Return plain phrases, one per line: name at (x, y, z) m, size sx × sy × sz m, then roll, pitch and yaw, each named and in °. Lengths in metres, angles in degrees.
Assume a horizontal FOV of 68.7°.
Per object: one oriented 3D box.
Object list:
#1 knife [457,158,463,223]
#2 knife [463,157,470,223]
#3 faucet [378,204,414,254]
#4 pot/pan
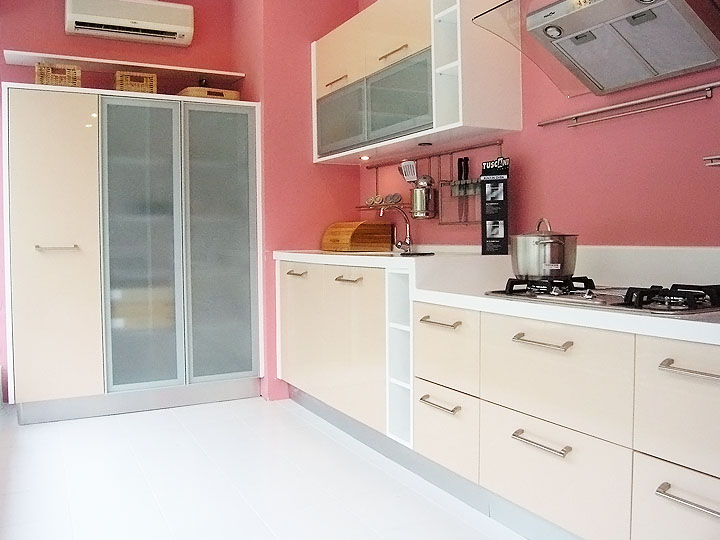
knife at (0.602, -0.480, 3.140) m, size 0.046 × 0.343 × 0.029 m, roll 4°, pitch 13°, yaw 35°
knife at (0.633, -0.466, 3.116) m, size 0.054 × 0.335 × 0.035 m, roll 1°, pitch 9°, yaw 24°
faucet at (0.248, -0.276, 3.553) m, size 0.207 × 0.325 × 0.597 m, roll 0°, pitch 6°, yaw 3°
pot/pan at (0.754, -0.076, 2.170) m, size 0.262 × 0.257 × 0.287 m, roll -2°, pitch 3°, yaw -1°
